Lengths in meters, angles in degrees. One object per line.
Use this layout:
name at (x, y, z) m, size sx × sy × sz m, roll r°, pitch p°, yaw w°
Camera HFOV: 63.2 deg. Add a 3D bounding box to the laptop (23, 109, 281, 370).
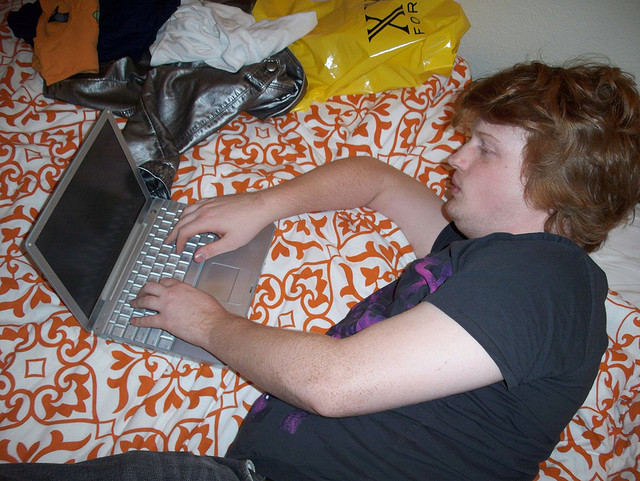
laptop at (-0.405, -0.002, 1.408) m, size 0.573 × 0.356 × 0.547 m, roll 26°, pitch 53°, yaw -2°
